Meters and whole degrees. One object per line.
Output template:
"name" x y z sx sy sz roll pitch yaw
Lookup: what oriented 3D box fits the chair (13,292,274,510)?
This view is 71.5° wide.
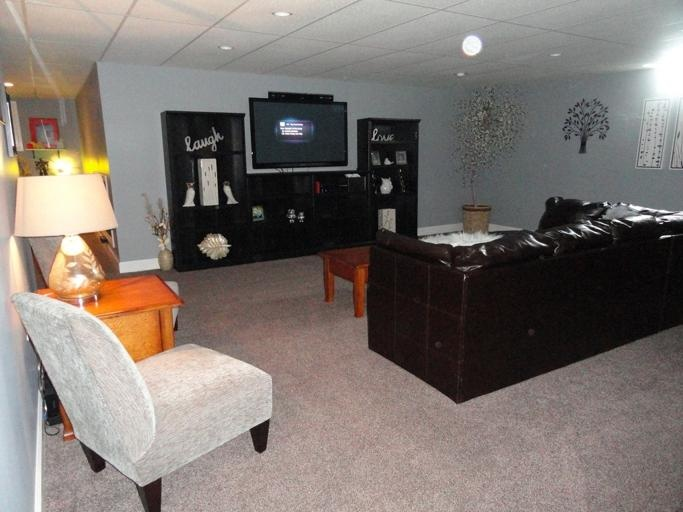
"chair" -1.099 0.497 2.805 1.006 1.520 1.187 18 25 38

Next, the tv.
"tv" -0.668 -1.739 6.606 1.044 0.720 0.070 -5 13 -27

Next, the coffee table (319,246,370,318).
"coffee table" 0.104 0.218 4.628 0.589 0.462 0.596 -8 15 -29

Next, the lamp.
"lamp" -1.655 -0.126 2.899 0.514 0.813 0.531 -10 20 -31

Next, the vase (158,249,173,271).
"vase" -2.239 0.052 6.026 0.172 0.290 0.183 -11 20 -37
